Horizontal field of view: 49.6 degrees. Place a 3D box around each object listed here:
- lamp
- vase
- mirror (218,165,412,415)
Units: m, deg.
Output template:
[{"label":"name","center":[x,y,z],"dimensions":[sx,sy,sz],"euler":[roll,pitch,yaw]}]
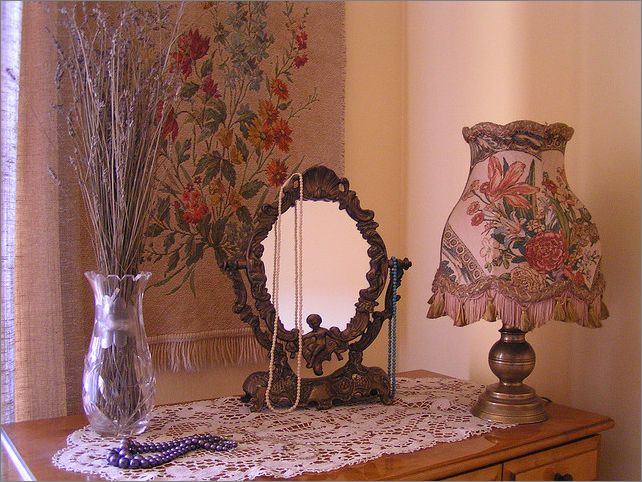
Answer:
[{"label":"lamp","center":[0.515,0.077,1.839],"dimensions":[0.442,0.743,0.434],"euler":[1,-1,-44]},{"label":"vase","center":[-0.473,0.262,1.611],"dimensions":[0.165,0.374,0.115],"euler":[-3,11,-16]},{"label":"mirror","center":[-0.041,0.139,1.884],"dimensions":[0.689,0.852,0.224],"euler":[-1,0,-15]}]
